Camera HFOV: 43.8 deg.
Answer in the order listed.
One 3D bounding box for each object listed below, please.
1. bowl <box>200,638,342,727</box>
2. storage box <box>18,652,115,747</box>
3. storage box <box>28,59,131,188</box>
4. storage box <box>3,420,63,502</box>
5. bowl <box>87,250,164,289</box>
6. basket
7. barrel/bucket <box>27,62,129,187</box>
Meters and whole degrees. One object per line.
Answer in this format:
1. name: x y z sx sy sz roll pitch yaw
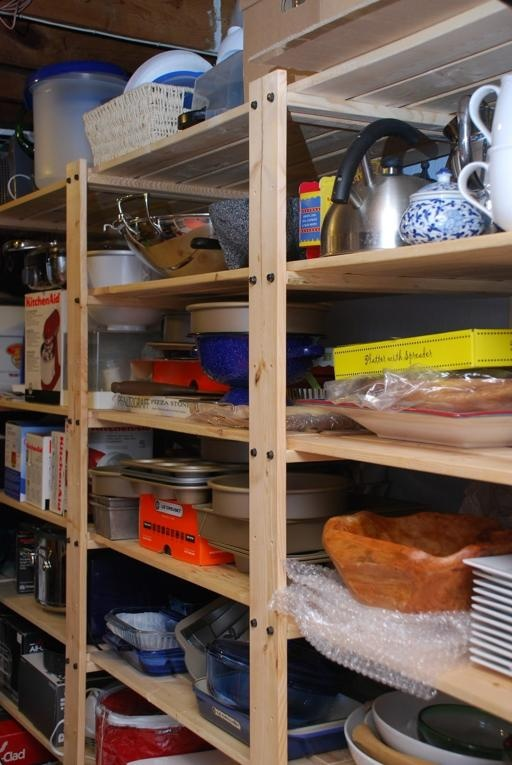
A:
1. bowl: 0.011 0.503 1.130 0.132 0.058 0.165 4 -4 -30
2. storage box: -0.608 0.977 2.005 0.195 0.168 0.348 6 -8 -38
3. storage box: -0.557 -0.776 2.044 0.340 0.373 0.350 2 -1 7
4. storage box: -0.840 0.245 2.234 0.234 0.315 0.325 0 1 -34
5. bowl: -0.348 -0.274 1.630 0.150 0.061 0.114 -4 4 -30
6. basket: -0.274 -0.570 1.505 0.175 0.110 0.269 -7 1 -33
7. barrel/bucket: -0.516 -0.764 2.027 0.342 0.362 0.333 2 -1 0
